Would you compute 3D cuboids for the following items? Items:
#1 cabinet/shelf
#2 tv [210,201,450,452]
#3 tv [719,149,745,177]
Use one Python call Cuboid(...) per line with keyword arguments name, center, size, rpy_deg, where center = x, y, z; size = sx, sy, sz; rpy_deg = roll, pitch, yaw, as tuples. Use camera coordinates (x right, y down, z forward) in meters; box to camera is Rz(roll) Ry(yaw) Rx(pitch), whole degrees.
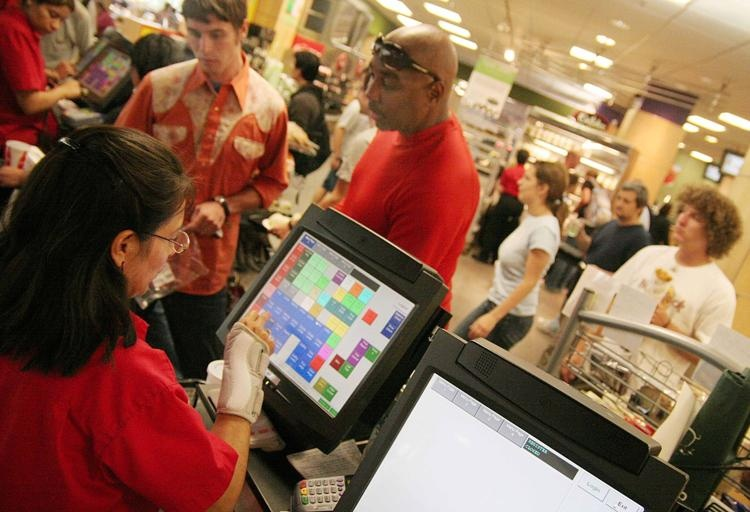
Cuboid(name="cabinet/shelf", center=(1.751, -1.593, 9.595), size=(1.253, 0.886, 1.507), rpy_deg=(-4, 52, -51))
Cuboid(name="tv", center=(-0.155, 0.319, 1.983), size=(0.623, 0.834, 0.429), rpy_deg=(27, -3, 34))
Cuboid(name="tv", center=(9.213, -2.416, 14.585), size=(0.386, 0.531, 1.422), rpy_deg=(23, 16, 23))
